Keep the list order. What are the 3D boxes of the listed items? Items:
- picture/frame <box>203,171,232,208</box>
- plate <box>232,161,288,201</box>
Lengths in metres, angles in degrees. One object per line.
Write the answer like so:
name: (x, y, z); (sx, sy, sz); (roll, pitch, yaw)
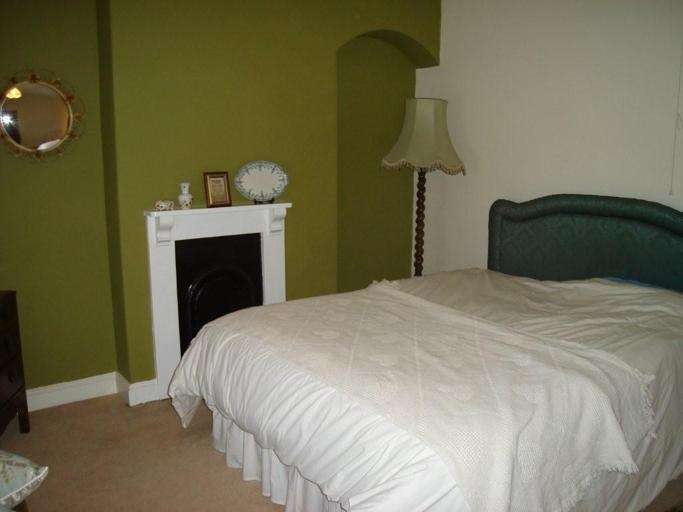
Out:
picture/frame: (-0.936, -0.496, 4.222); (0.214, 0.328, 0.031); (-11, 10, -41)
plate: (-0.617, -0.580, 4.371); (0.313, 0.349, 0.036); (-9, 6, -26)
